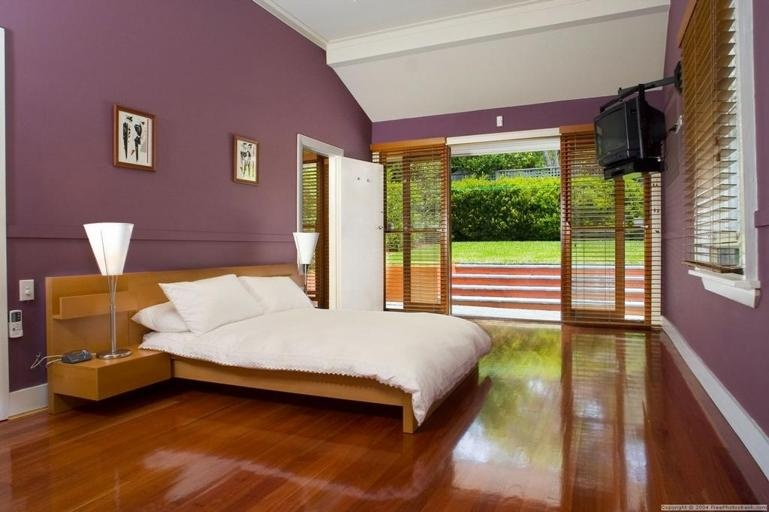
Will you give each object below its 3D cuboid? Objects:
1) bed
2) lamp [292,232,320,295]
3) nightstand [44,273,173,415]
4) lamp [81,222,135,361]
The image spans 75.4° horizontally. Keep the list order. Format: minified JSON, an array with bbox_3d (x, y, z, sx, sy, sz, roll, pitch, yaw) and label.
[{"bbox_3d":[-0.528,0.677,3.976,1.624,0.692,1.563,1,0,20],"label":"bed"},{"bbox_3d":[-0.904,0.256,5.738,0.304,1.103,0.312,1,7,-7],"label":"lamp"},{"bbox_3d":[-2.186,0.648,3.933,0.515,1.025,0.737,-2,0,13],"label":"nightstand"},{"bbox_3d":[-2.122,0.249,3.890,0.304,1.031,0.465,-6,10,-32],"label":"lamp"}]
